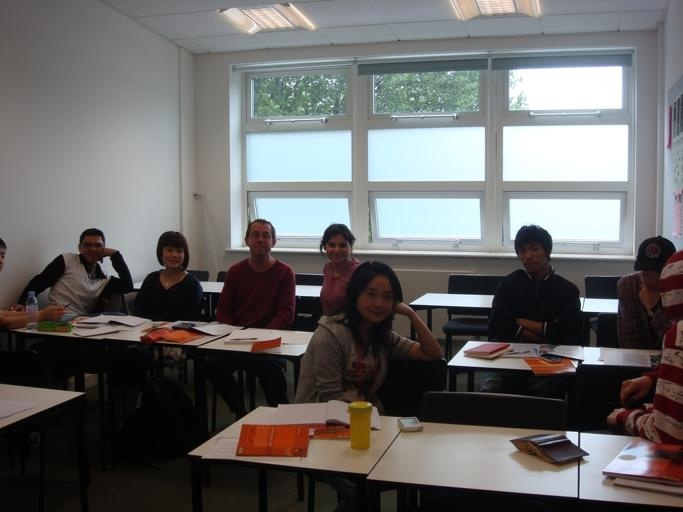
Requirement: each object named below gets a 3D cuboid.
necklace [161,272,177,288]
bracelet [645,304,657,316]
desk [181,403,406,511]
[{"bbox_3d":[-1.313,0.188,4.152,0.103,0.070,0.132,7,6,-10],"label":"necklace"},{"bbox_3d":[1.774,0.323,3.097,0.045,0.044,0.041,7,6,34],"label":"bracelet"},{"bbox_3d":[-0.146,0.685,2.120,0.534,0.351,0.568,2,9,16],"label":"desk"}]
